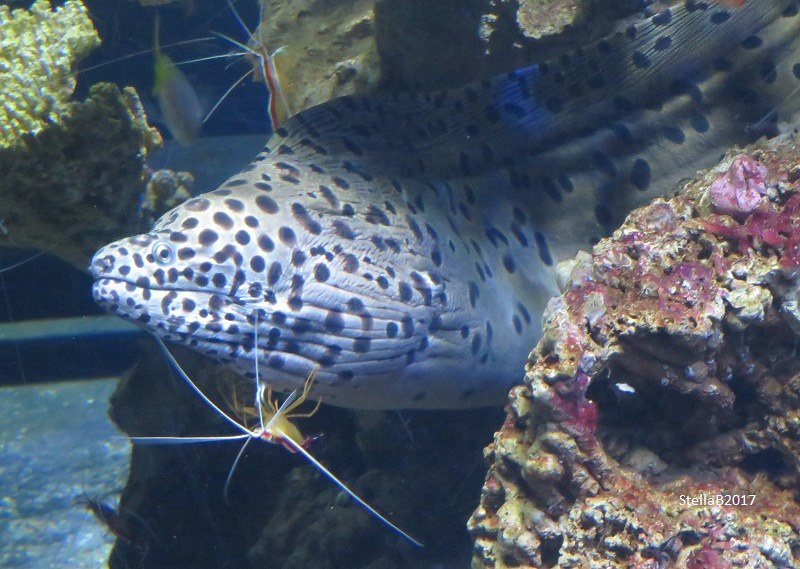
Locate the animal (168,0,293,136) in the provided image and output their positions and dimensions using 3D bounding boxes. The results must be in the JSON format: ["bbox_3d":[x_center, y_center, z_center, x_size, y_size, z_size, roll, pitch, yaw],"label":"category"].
[{"bbox_3d":[-0.803,-0.846,6.388,0.376,0.675,0.423,-28,42,-5],"label":"animal"}]

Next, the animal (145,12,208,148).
[{"bbox_3d":[-0.965,-0.891,6.195,0.186,0.596,0.250,-10,-1,-8],"label":"animal"}]
